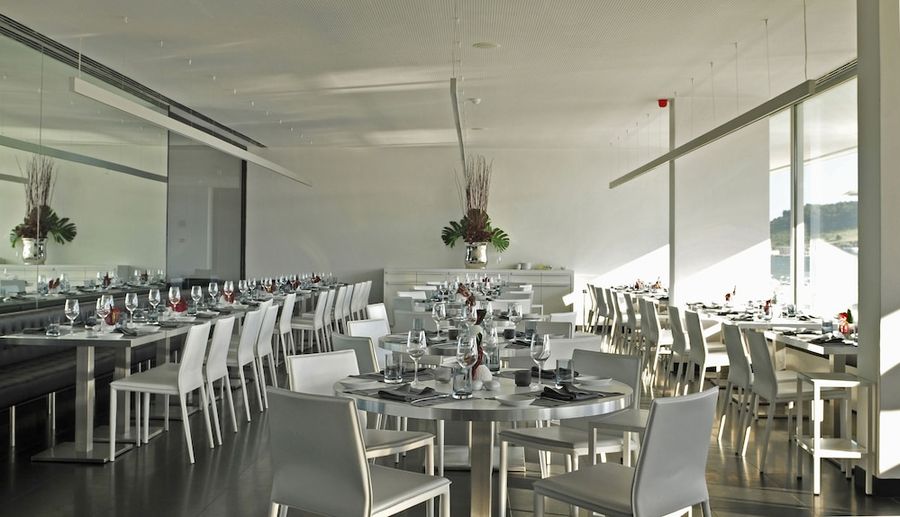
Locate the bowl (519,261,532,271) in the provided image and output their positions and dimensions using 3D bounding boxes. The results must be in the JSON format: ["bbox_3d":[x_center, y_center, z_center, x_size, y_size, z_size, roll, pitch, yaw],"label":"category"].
[{"bbox_3d":[1.851,0.171,15.393,0.180,0.131,0.274,1,-7,-14],"label":"bowl"}]

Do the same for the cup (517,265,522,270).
[{"bbox_3d":[1.684,0.204,15.459,0.098,0.069,0.096,0,-5,0],"label":"cup"}]

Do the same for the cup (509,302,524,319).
[{"bbox_3d":[0.831,0.625,7.730,0.208,0.192,0.204,-1,0,0],"label":"cup"}]

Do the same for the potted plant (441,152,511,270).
[{"bbox_3d":[0.638,-1.178,15.302,1.599,2.784,0.954,0,-6,4],"label":"potted plant"}]

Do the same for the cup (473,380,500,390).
[{"bbox_3d":[0.318,1.099,5.557,0.225,0.089,0.088,-1,-7,7],"label":"cup"}]

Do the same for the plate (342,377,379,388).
[{"bbox_3d":[-0.794,1.110,5.656,0.343,0.092,0.238,0,-7,3],"label":"plate"}]

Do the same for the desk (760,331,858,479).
[{"bbox_3d":[3.910,1.603,7.203,0.829,1.173,0.751,20,-10,-2],"label":"desk"}]

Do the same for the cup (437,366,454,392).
[{"bbox_3d":[-0.032,1.095,5.741,0.169,0.224,0.172,0,-1,0],"label":"cup"}]

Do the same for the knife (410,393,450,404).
[{"bbox_3d":[-0.160,1.186,5.371,0.340,0.027,0.099,-2,0,-39],"label":"knife"}]

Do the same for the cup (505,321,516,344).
[{"bbox_3d":[0.703,0.858,7.358,0.172,0.286,0.184,0,-1,0],"label":"cup"}]

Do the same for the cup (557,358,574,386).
[{"bbox_3d":[1.035,1.007,5.625,0.160,0.236,0.103,4,-7,-30],"label":"cup"}]

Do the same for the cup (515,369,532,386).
[{"bbox_3d":[0.658,1.060,5.710,0.133,0.128,0.132,0,-1,0],"label":"cup"}]
